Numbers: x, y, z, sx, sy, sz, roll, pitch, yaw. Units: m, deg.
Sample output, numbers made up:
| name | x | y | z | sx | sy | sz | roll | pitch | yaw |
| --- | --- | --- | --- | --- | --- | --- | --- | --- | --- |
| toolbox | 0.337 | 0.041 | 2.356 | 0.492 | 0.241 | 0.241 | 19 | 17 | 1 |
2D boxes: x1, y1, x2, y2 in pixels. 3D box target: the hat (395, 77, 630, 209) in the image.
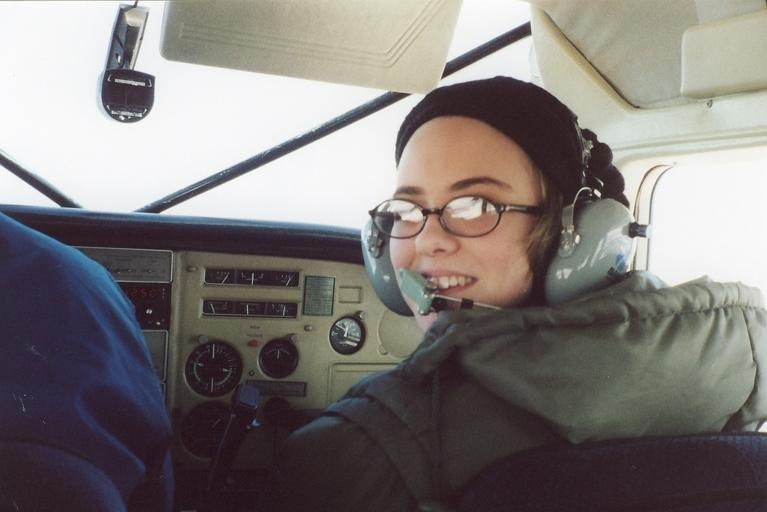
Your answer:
| name | x | y | z | sx | sy | sz | roll | pitch | yaw |
| --- | --- | --- | --- | --- | --- | --- | --- | --- | --- |
| hat | 0.376 | -0.348 | 1.874 | 0.476 | 0.166 | 0.387 | 14 | -8 | -16 |
